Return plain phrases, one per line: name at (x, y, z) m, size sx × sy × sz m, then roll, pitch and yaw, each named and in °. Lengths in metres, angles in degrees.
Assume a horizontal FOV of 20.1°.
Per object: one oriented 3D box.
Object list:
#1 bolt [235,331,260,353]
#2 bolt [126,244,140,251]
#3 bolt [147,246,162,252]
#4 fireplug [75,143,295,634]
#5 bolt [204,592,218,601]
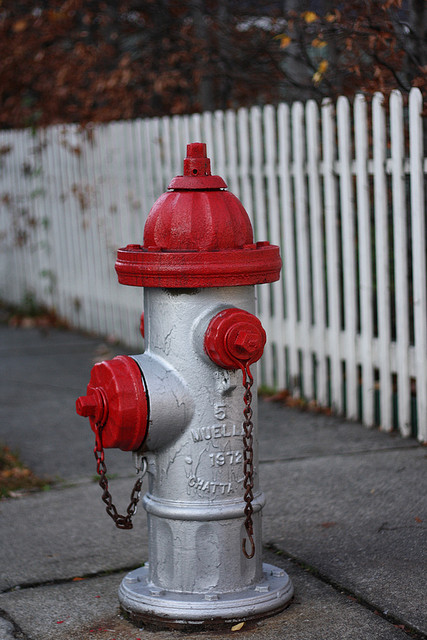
bolt at (0.111, 0.053, 3.930) m, size 0.097 × 0.083 × 0.049 m, roll -1°, pitch 6°, yaw -43°
bolt at (-0.288, -0.259, 4.263) m, size 0.029 × 0.015 × 0.033 m, roll -1°, pitch -1°, yaw 12°
bolt at (-0.195, -0.239, 4.045) m, size 0.046 × 0.011 × 0.098 m, roll -4°, pitch 11°, yaw -3°
fireplug at (-0.088, 0.216, 4.096) m, size 0.684 × 1.597 × 0.457 m, roll -2°, pitch 9°, yaw 2°
bolt at (-0.005, 0.932, 4.042) m, size 0.045 × 0.014 × 0.053 m, roll -3°, pitch 11°, yaw -2°
